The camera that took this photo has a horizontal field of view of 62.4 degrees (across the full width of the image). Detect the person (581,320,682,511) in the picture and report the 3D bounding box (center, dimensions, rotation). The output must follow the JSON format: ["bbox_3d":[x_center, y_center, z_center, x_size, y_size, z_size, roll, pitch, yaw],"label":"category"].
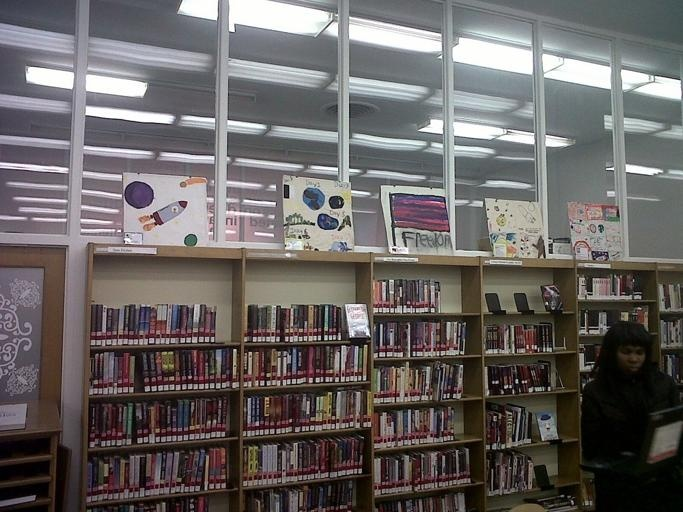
[{"bbox_3d":[2.087,1.155,4.104,0.663,1.351,0.662,-5,-9,24],"label":"person"}]
